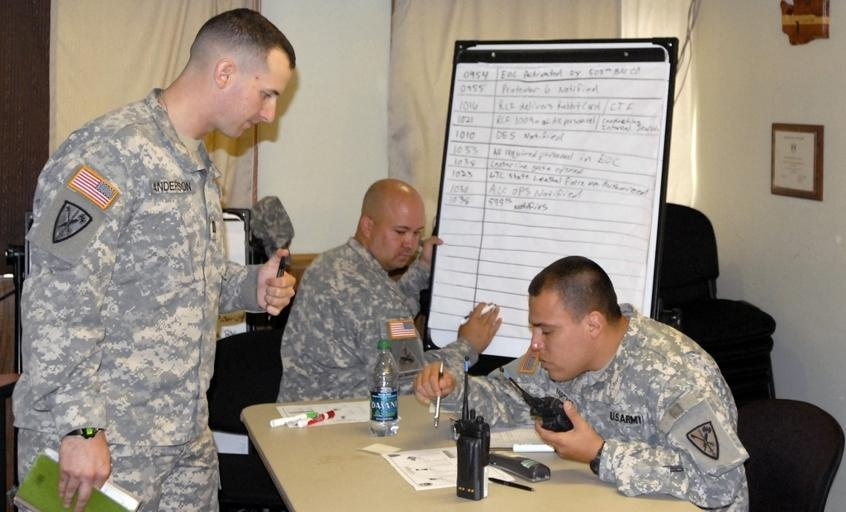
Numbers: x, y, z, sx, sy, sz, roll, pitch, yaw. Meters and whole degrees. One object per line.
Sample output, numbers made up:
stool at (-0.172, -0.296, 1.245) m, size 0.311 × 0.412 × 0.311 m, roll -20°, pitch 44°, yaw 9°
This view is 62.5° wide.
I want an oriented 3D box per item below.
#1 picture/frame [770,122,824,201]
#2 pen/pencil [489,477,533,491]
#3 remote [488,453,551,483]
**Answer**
picture/frame at (2.348, -0.596, 4.372) m, size 0.034 × 0.498 × 0.372 m, roll -1°, pitch 3°, yaw -21°
pen/pencil at (0.353, 0.914, 2.802) m, size 0.186 × 0.026 × 0.030 m, roll 2°, pitch 4°, yaw 21°
remote at (0.394, 0.868, 2.875) m, size 0.094 × 0.062 × 0.304 m, roll -5°, pitch 8°, yaw -33°
